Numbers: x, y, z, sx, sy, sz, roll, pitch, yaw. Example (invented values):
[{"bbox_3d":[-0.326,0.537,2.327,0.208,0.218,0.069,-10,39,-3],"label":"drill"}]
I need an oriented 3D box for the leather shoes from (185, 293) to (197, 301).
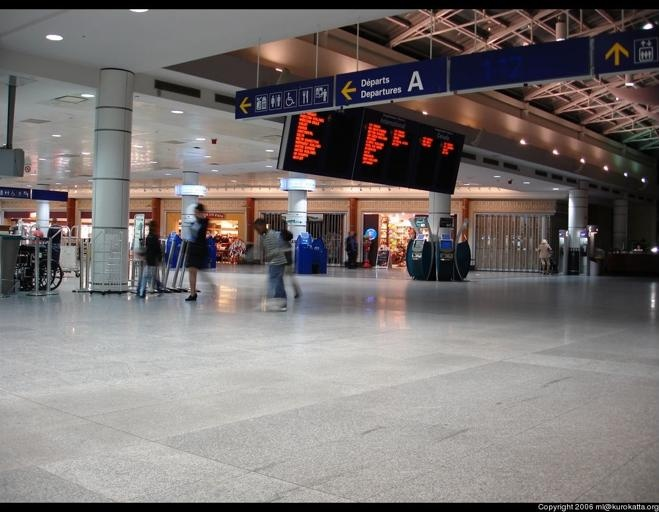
[{"bbox_3d":[-3.116,0.914,10.624,0.234,0.104,0.125,1,-1,35],"label":"leather shoes"}]

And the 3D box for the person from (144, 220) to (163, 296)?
[{"bbox_3d":[-4.301,0.024,11.541,0.382,1.754,1.416,1,1,-19],"label":"person"}]

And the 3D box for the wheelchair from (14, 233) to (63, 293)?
[{"bbox_3d":[-7.589,0.189,12.270,1.361,1.680,1.091,0,1,-43],"label":"wheelchair"}]

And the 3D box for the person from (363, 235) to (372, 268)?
[{"bbox_3d":[2.610,-0.406,32.952,0.494,2.046,0.991,1,1,3],"label":"person"}]
